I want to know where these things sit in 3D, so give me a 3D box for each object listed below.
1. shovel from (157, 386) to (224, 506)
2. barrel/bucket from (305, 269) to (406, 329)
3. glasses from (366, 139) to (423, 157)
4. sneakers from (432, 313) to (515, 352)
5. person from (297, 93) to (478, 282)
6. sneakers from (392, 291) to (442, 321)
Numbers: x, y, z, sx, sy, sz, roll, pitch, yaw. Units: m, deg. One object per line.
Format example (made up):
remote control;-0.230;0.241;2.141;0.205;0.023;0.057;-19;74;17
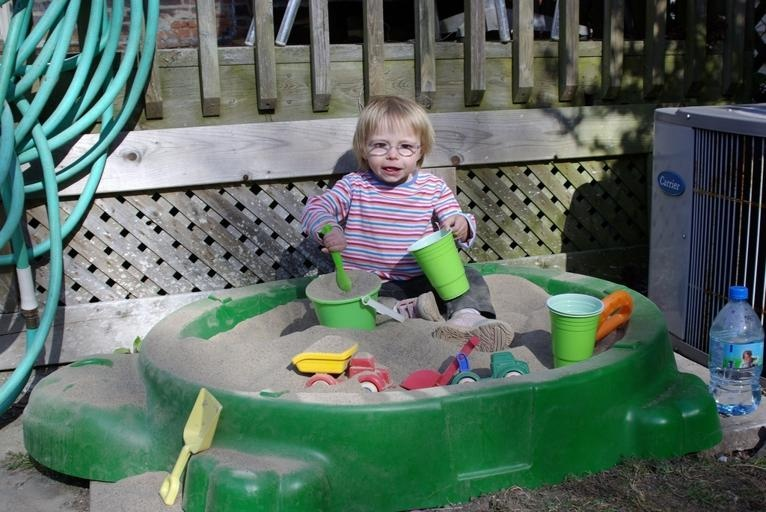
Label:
shovel;-0.747;0.746;2.763;0.194;0.500;0.140;14;-14;36
barrel/bucket;-0.167;0.173;3.313;0.376;0.181;0.296;-5;12;-22
glasses;0.056;-0.574;3.652;0.272;0.093;0.068;-3;14;-1
sneakers;0.443;0.331;3.262;0.358;0.165;0.165;5;18;14
person;0.019;-0.270;3.708;0.913;1.114;0.794;-6;22;-13
sneakers;0.179;0.260;3.494;0.129;0.074;0.208;-14;1;-27
